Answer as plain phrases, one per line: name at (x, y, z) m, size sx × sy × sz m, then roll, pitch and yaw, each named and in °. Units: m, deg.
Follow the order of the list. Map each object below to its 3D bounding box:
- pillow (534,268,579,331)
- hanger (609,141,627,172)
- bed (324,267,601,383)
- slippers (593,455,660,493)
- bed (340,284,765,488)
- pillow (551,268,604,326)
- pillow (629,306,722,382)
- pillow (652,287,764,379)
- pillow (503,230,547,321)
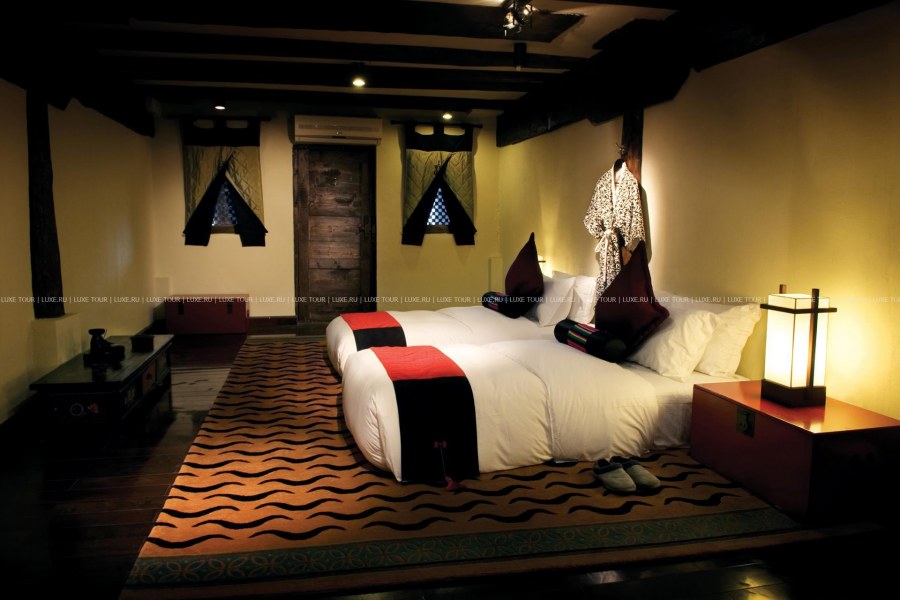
pillow at (1.026, -0.007, 6.222) m, size 0.379 × 0.351 × 0.854 m, roll -18°, pitch 19°, yaw 6°
hanger at (1.537, -1.358, 5.961) m, size 0.155 × 0.240 × 0.261 m, roll 2°, pitch 5°, yaw 10°
bed at (0.076, 0.228, 6.121) m, size 1.875 × 0.725 × 1.234 m, roll 1°, pitch 7°, yaw -6°
slippers at (1.147, 1.132, 4.173) m, size 0.220 × 0.097 × 0.296 m, roll -2°, pitch 0°, yaw -21°
bed at (0.686, 0.628, 4.706) m, size 1.797 × 0.748 × 1.961 m, roll 2°, pitch 7°, yaw -8°
pillow at (1.302, -0.019, 6.160) m, size 0.146 × 0.407 × 0.391 m, roll 15°, pitch -10°, yaw -40°
pillow at (1.670, 0.280, 4.658) m, size 0.152 × 0.494 × 0.507 m, roll 29°, pitch 0°, yaw -22°
pillow at (2.013, 0.256, 4.640) m, size 0.166 × 0.569 × 0.555 m, roll 7°, pitch 8°, yaw -35°
pillow at (0.821, -0.261, 6.734) m, size 0.499 × 1.241 × 0.501 m, roll 5°, pitch -36°, yaw 10°
